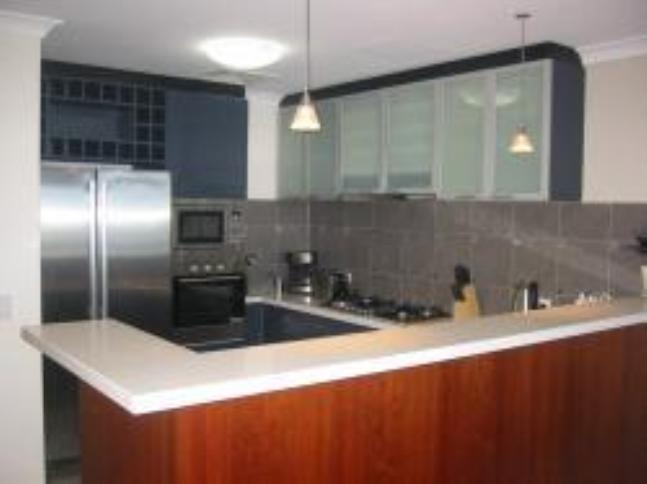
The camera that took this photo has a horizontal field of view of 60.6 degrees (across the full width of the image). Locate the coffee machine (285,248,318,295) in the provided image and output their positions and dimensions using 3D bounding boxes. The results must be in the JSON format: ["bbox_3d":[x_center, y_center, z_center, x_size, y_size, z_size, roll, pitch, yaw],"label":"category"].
[{"bbox_3d":[-0.114,0.176,3.090,0.113,0.283,0.358,3,6,15],"label":"coffee machine"}]

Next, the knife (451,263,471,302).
[{"bbox_3d":[0.872,0.255,3.512,0.119,0.232,0.043,2,6,13],"label":"knife"}]

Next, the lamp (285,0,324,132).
[{"bbox_3d":[-0.107,-0.898,2.848,0.152,0.657,0.348,2,6,9],"label":"lamp"}]

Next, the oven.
[{"bbox_3d":[-0.591,0.245,2.912,0.558,0.362,0.298,-2,7,-32],"label":"oven"}]

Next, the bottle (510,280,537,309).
[{"bbox_3d":[1.248,0.325,3.429,0.177,0.169,0.040,3,-7,9],"label":"bottle"}]

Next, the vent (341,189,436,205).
[{"bbox_3d":[0.363,-0.267,3.238,0.662,0.066,0.164,-2,6,-33],"label":"vent"}]

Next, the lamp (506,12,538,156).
[{"bbox_3d":[1.169,-0.892,3.219,0.143,0.755,0.377,3,6,21],"label":"lamp"}]
